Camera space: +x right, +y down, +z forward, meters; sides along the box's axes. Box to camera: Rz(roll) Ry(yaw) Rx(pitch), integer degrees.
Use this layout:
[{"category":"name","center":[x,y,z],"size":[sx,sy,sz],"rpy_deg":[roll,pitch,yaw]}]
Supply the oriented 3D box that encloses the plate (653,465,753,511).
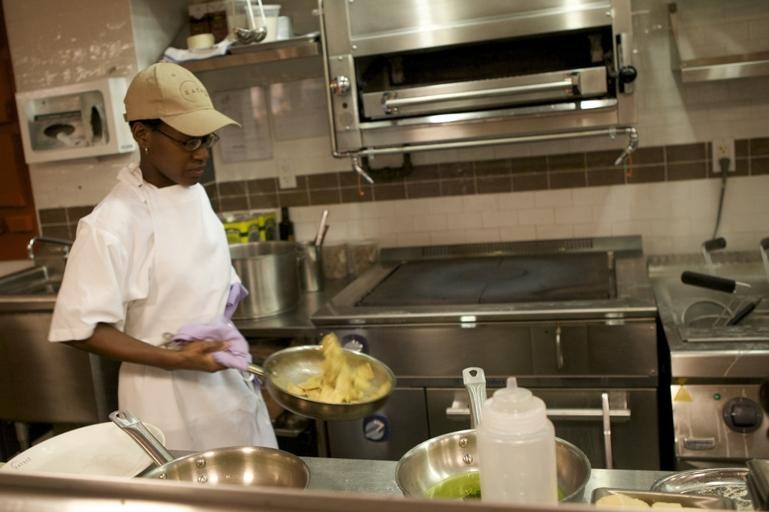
[{"category":"plate","center":[0.835,0.597,1.829],"size":[0.236,0.058,0.152],"rpy_deg":[-2,7,24]}]

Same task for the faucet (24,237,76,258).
[{"category":"faucet","center":[-1.722,-0.045,3.563],"size":[0.177,0.054,0.115],"rpy_deg":[-2,-20,8]}]

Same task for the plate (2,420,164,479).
[{"category":"plate","center":[-0.869,0.554,1.978],"size":[0.410,0.107,0.184],"rpy_deg":[-4,6,-1]}]

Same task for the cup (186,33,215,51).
[{"category":"cup","center":[-0.909,-1.044,3.450],"size":[0.127,0.082,0.124],"rpy_deg":[-2,14,0]}]

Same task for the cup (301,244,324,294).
[{"category":"cup","center":[-0.372,0.061,3.517],"size":[0.107,0.239,0.063],"rpy_deg":[-7,7,-12]}]

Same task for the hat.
[{"category":"hat","center":[-0.663,-0.513,2.316],"size":[0.357,0.171,0.219],"rpy_deg":[12,22,13]}]

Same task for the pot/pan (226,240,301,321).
[{"category":"pot/pan","center":[-0.641,0.091,3.300],"size":[0.367,0.264,0.380],"rpy_deg":[5,14,31]}]
